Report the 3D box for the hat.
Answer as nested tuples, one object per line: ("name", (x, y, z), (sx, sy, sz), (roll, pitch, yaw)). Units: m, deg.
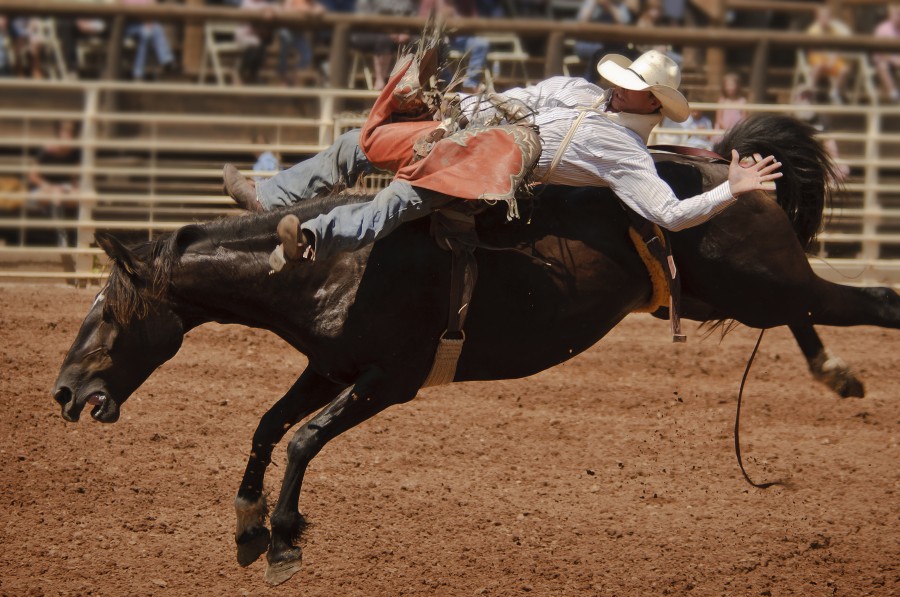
("hat", (1.420, -1.581, 9.291), (0.698, 0.246, 0.514), (22, 11, -41))
